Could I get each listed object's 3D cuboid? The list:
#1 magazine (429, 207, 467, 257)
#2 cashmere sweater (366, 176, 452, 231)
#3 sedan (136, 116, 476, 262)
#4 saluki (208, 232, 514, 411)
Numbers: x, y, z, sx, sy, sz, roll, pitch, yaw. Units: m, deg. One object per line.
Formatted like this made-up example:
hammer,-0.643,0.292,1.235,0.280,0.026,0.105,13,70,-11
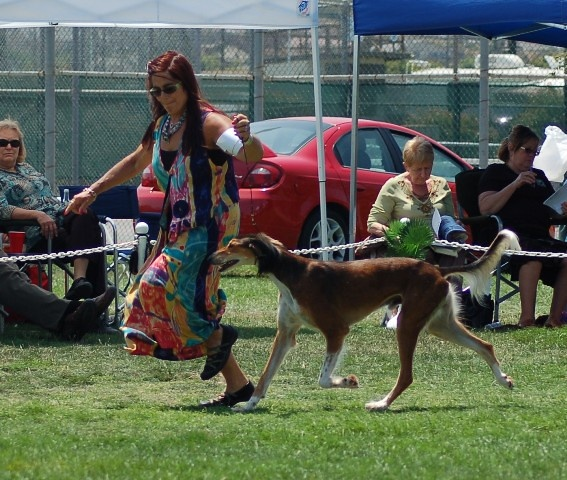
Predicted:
magazine,1.307,-0.079,9.202,0.261,0.404,0.494,0,3,-6
cashmere sweater,1.064,-0.314,9.382,0.667,0.563,0.501,0,4,-1
sedan,0.403,-0.640,11.717,3.825,1.500,1.482,-1,2,-34
saluki,0.522,0.521,6.987,1.797,1.278,0.411,-1,-26,3
